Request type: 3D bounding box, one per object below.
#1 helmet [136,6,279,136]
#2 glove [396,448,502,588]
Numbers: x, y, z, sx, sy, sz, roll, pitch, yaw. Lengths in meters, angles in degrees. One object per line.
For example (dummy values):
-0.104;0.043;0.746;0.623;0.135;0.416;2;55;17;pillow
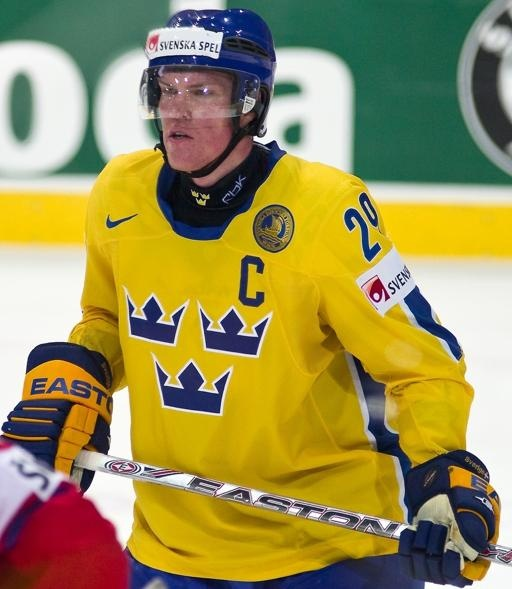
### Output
-0.075;-0.422;1.736;0.280;0.222;0.221;0;5;-33;helmet
0.336;0.357;1.428;0.180;0.210;0.110;-6;-24;43;glove
